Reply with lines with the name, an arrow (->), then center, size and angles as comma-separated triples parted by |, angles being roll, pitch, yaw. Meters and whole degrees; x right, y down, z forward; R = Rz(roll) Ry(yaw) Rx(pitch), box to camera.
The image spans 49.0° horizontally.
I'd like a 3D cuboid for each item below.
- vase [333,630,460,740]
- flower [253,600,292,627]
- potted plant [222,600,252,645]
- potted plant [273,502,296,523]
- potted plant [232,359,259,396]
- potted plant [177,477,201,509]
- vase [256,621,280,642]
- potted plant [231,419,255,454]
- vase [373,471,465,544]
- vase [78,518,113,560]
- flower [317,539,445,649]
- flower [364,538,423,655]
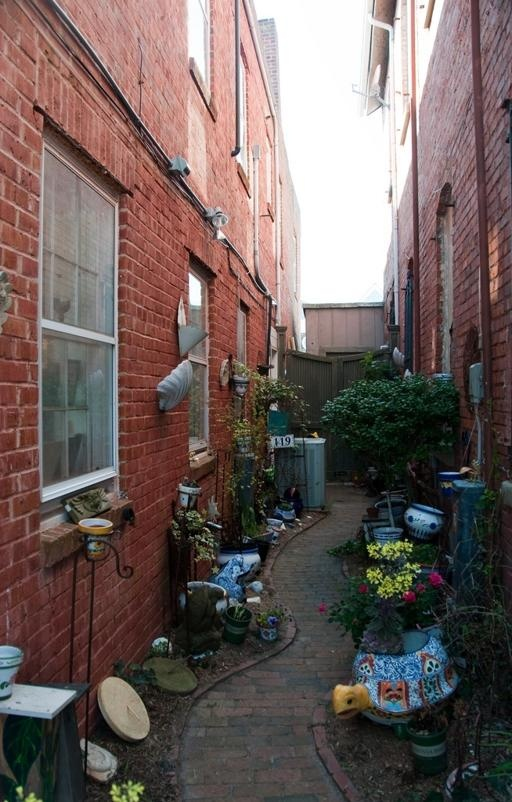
vase -> 0.655, 1.207, 2.621 | 0.346, 0.233, 0.500 | -8, -4, 43
flower -> 0.108, 1.583, 4.119 | 0.187, 0.195, 0.225 | -7, -16, 30
potted plant -> -0.133, 1.544, 3.945 | 0.171, 0.226, 0.195 | 2, 3, 0
potted plant -> 0.412, 1.571, 8.005 | 0.182, 0.291, 0.272 | 6, 17, 8
potted plant -> -0.169, -0.253, 6.241 | 0.295, 0.544, 0.466 | 0, 0, 17
potted plant -> -0.457, 0.612, 3.766 | 0.151, 0.228, 0.182 | 2, -7, -19
vase -> 0.091, 1.615, 3.983 | 0.105, 0.090, 0.128 | 1, -9, -2
potted plant -> -0.132, 0.384, 6.125 | 0.172, 0.368, 0.528 | -4, -2, 13
vase -> 1.645, 1.071, 5.568 | 0.524, 0.650, 1.151 | 2, -12, 8
vase -> -0.591, 0.508, 2.132 | 0.130, 0.176, 0.139 | 1, -5, -3
flower -> 0.652, 1.180, 3.110 | 0.406, 0.593, 0.426 | 4, 34, 1
flower -> 0.724, 1.049, 2.981 | 0.348, 0.410, 0.726 | -1, 5, 10
